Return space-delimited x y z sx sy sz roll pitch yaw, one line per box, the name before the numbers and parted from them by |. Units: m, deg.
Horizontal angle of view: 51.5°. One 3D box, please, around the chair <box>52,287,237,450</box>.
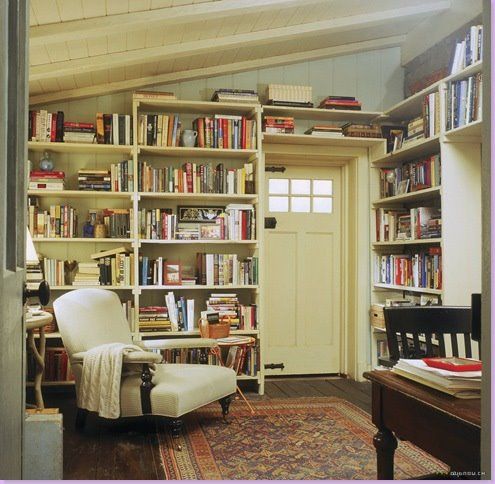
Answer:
chair | -0.702 0.742 3.388 1.106 0.870 0.845 -1 -2 20
